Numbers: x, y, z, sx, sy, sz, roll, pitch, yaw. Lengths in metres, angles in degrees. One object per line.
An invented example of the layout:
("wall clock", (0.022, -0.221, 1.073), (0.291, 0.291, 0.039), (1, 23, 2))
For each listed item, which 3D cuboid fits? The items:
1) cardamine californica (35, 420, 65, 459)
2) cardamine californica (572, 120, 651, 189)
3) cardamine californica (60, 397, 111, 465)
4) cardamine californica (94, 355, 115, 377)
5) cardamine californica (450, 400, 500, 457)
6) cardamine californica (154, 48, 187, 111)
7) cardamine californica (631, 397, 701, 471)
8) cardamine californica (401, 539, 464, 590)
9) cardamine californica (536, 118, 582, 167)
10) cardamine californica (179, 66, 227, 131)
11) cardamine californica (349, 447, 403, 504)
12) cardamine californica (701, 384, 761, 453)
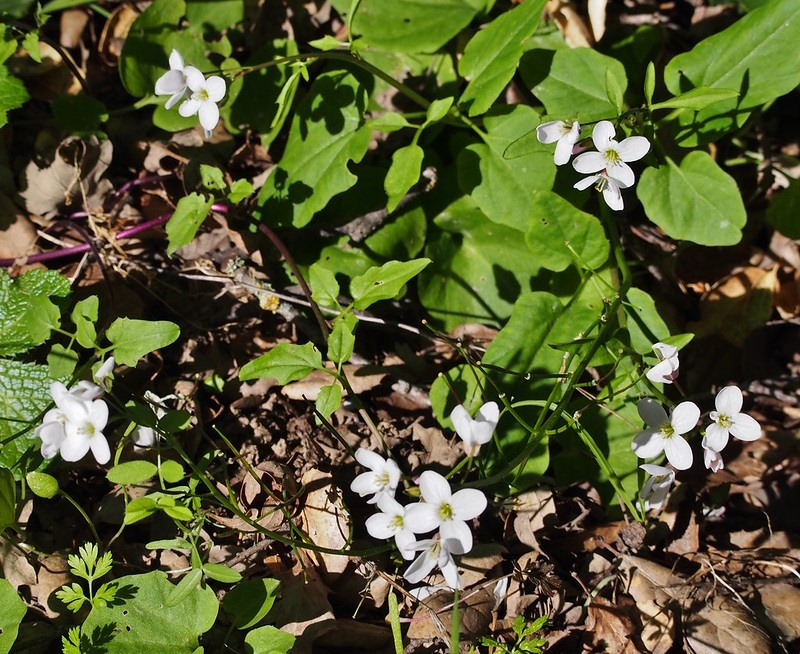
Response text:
("cardamine californica", (-1.216, 0.384, 2.747), (0.101, 0.119, 0.059), (17, 30, 28))
("cardamine californica", (0.789, -0.654, 2.918), (0.252, 0.187, 0.155), (20, 53, 5))
("cardamine californica", (-1.087, 0.364, 2.660), (0.177, 0.168, 0.194), (0, 54, -9))
("cardamine californica", (-1.038, 0.151, 2.749), (0.029, 0.083, 0.064), (37, 29, 2))
("cardamine californica", (0.256, 0.339, 2.771), (0.164, 0.215, 0.183), (9, 20, 19))
("cardamine californica", (-0.848, -0.940, 2.952), (0.091, 0.148, 0.246), (6, 60, -15))
("cardamine californica", (0.942, 0.363, 2.755), (0.211, 0.200, 0.172), (16, 53, 3))
("cardamine californica", (0.116, 0.771, 2.617), (0.167, 0.190, 0.077), (4, 28, 32))
("cardamine californica", (0.593, -0.719, 2.994), (0.083, 0.166, 0.164), (-22, 98, -24))
("cardamine californica", (-0.748, -0.876, 2.956), (0.160, 0.181, 0.154), (23, 53, 8))
("cardamine californica", (-0.072, 0.509, 2.687), (0.153, 0.205, 0.118), (-9, 13, 25))
("cardamine californica", (1.172, 0.321, 2.833), (0.209, 0.227, 0.058), (42, 6, -10))
